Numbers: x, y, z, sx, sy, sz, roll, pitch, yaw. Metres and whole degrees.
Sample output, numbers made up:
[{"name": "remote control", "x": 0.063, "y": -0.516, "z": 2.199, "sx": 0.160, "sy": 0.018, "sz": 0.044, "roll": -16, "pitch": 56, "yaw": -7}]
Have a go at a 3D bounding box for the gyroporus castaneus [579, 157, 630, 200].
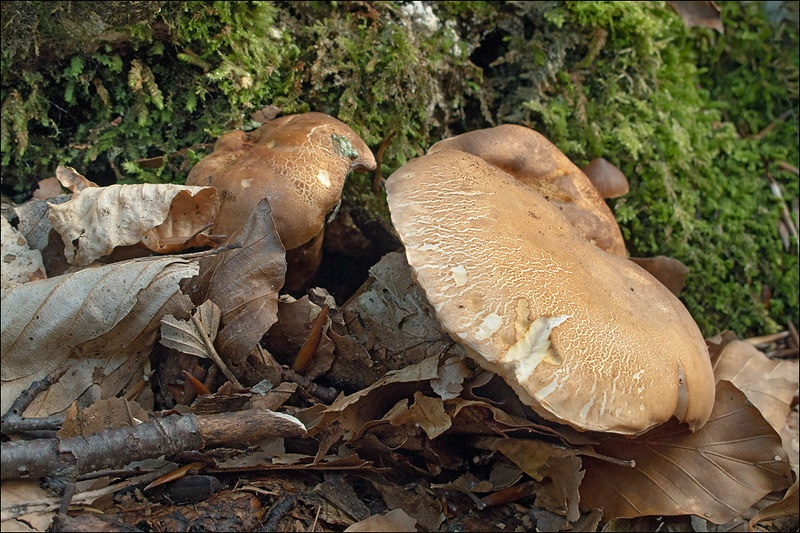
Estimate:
[{"name": "gyroporus castaneus", "x": 1.266, "y": -0.552, "z": 5.234, "sx": 0.246, "sy": 0.165, "sz": 0.257, "roll": 32, "pitch": 48, "yaw": 26}]
